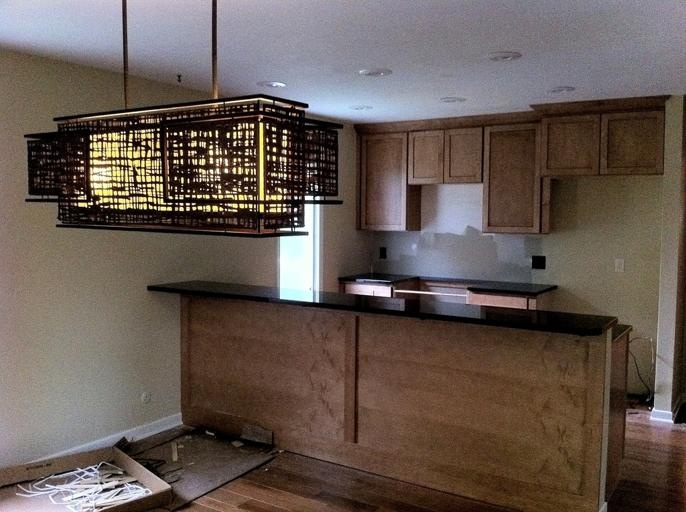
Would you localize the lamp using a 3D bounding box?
[{"bbox_3d":[-0.958,-0.805,3.436,1.348,1.156,0.427,2,3,24],"label":"lamp"}]
